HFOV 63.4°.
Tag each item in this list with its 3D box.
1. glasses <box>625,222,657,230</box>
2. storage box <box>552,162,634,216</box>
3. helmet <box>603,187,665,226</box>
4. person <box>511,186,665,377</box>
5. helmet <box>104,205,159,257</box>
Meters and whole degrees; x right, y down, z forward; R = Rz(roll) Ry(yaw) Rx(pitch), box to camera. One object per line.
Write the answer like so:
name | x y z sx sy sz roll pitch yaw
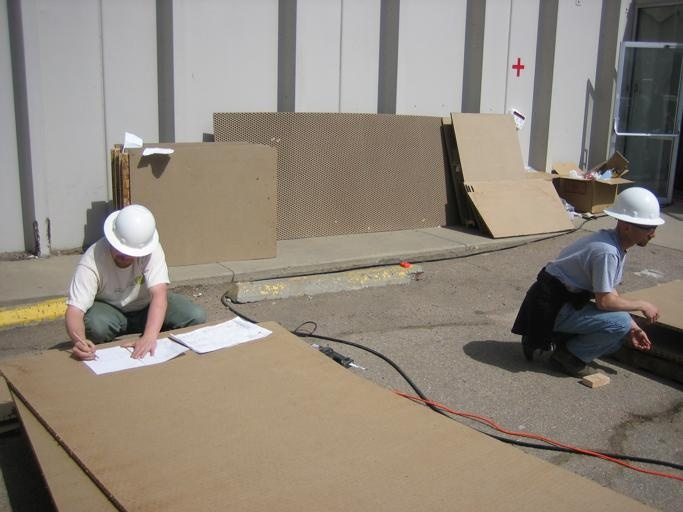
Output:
glasses | 2.228 -0.216 4.100 0.213 0.051 0.077 -1 16 -2
storage box | 4.369 -1.230 9.784 1.422 0.722 1.432 3 14 -3
helmet | 2.200 -0.359 4.148 0.313 0.182 0.343 -8 19 -42
person | 1.927 0.243 4.353 1.014 1.512 0.420 7 17 28
helmet | -1.441 -0.159 3.742 0.326 0.327 0.282 -2 15 -3
